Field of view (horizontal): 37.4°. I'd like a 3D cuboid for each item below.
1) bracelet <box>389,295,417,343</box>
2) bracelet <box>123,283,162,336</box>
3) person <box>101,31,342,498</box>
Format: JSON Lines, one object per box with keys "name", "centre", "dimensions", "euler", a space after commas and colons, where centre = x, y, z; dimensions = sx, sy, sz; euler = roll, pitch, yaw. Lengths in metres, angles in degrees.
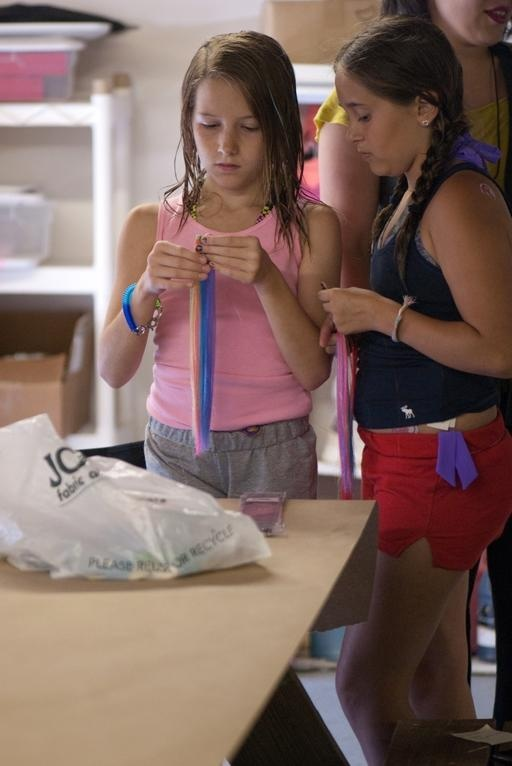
{"name": "bracelet", "centre": [0.205, -0.093, 1.094], "dimensions": [0.026, 0.058, 0.047], "euler": [15, 3, 8]}
{"name": "bracelet", "centre": [-0.178, -0.114, 1.196], "dimensions": [0.067, 0.078, 0.023], "euler": [-8, 0, -25]}
{"name": "person", "centre": [-0.079, -0.181, 1.238], "dimensions": [0.394, 0.760, 0.330], "euler": [3, 17, 18]}
